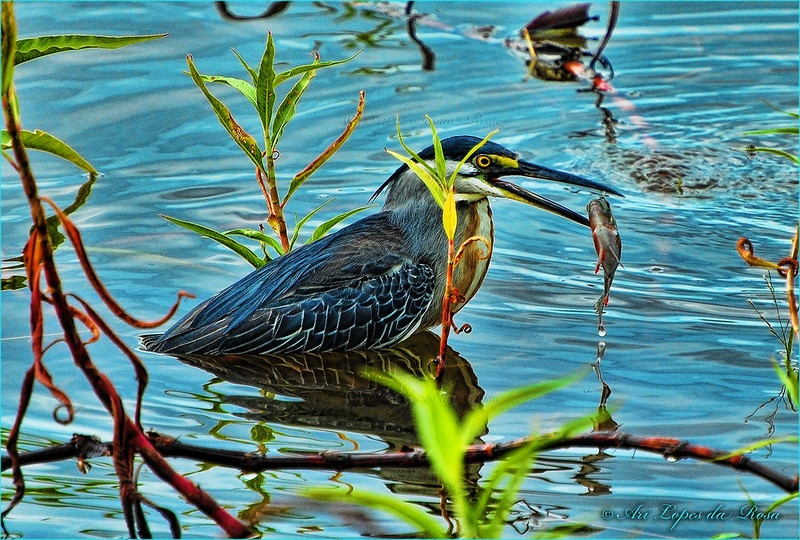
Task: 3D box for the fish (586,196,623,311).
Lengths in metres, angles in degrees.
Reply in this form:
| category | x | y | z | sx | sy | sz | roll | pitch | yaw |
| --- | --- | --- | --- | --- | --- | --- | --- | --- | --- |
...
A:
| category | x | y | z | sx | sy | sz | roll | pitch | yaw |
| --- | --- | --- | --- | --- | --- | --- | --- | --- | --- |
| fish | 1.334 | -0.093 | 7.193 | 0.222 | 0.787 | 0.330 | 12 | 19 | 38 |
